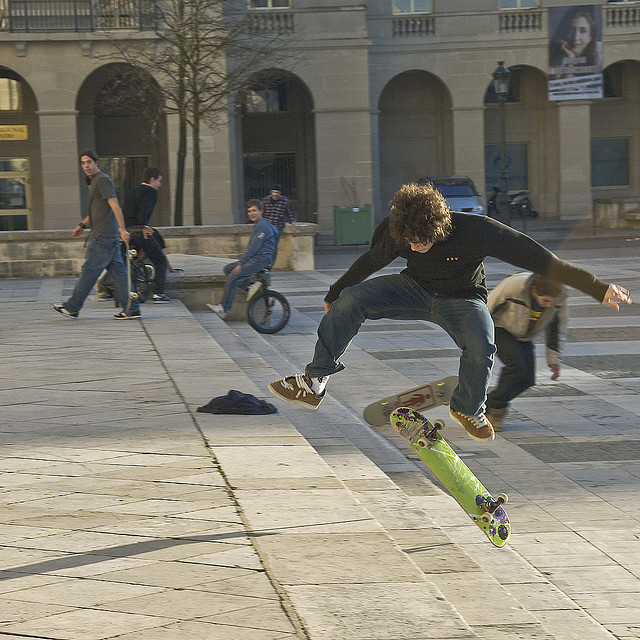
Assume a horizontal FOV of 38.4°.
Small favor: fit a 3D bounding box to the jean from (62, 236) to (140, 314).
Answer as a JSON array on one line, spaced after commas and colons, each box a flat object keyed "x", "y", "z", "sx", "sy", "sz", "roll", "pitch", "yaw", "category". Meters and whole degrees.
[{"x": -2.312, "y": -0.511, "z": 9.927, "sx": 0.735, "sy": 0.869, "sz": 0.352, "roll": -7, "pitch": 14, "yaw": -42, "category": "jean"}]

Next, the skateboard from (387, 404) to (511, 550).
[{"x": 0.642, "y": 0.815, "z": 4.627, "sx": 0.230, "sy": 0.973, "sz": 0.127, "roll": -50, "pitch": -9, "yaw": -27, "category": "skateboard"}]

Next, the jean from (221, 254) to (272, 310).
[{"x": -0.908, "y": -0.485, "z": 11.686, "sx": 0.679, "sy": 0.331, "sz": 0.913, "roll": 5, "pitch": -32, "yaw": -16, "category": "jean"}]

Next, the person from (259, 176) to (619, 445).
[{"x": 0.689, "y": -0.056, "z": 4.583, "sx": 2.003, "sy": 1.093, "sz": 0.975, "roll": 13, "pitch": 11, "yaw": 38, "category": "person"}]
